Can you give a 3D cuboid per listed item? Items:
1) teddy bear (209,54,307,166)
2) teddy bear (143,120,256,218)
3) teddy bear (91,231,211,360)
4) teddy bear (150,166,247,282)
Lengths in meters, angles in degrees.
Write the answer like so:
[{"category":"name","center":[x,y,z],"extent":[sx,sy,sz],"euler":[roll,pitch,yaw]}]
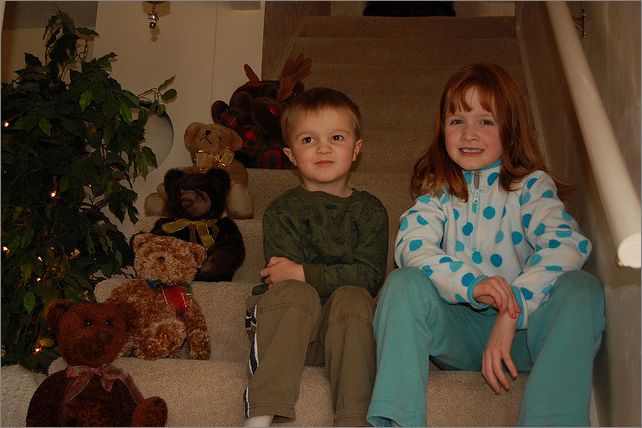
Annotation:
[{"category":"teddy bear","center":[-0.325,-0.513,2.883],"extent":[0.422,0.705,0.393],"euler":[2,-9,16]},{"category":"teddy bear","center":[-0.512,-0.205,2.464],"extent":[0.474,0.477,0.286],"euler":[0,-4,7]},{"category":"teddy bear","center":[-0.546,0.269,1.860],"extent":[0.359,0.407,0.280],"euler":[10,-8,-9]},{"category":"teddy bear","center":[-0.413,0.047,2.241],"extent":[0.451,0.561,0.368],"euler":[1,-18,-1]}]
